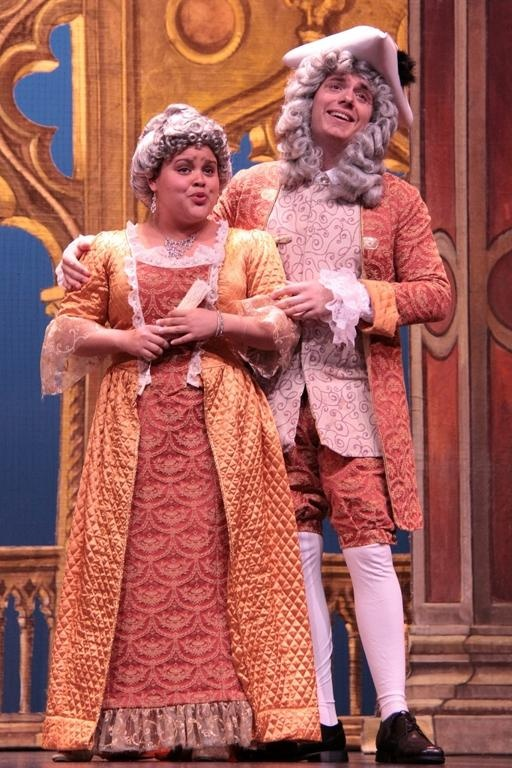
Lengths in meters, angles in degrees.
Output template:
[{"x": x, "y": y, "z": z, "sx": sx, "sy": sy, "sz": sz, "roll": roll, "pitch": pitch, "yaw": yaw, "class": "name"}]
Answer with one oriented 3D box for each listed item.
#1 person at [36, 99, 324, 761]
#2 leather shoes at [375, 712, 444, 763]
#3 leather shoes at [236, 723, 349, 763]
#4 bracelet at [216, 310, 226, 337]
[{"x": -0.212, "y": 0.090, "z": 3.399, "sx": 0.637, "sy": 1.455, "sz": 0.251, "roll": -6, "pitch": -9, "yaw": 0, "class": "person"}, {"x": 0.334, "y": 0.794, "z": 3.375, "sx": 0.083, "sy": 0.084, "sz": 0.198, "roll": 9, "pitch": -21, "yaw": -23, "class": "leather shoes"}, {"x": 0.083, "y": 0.825, "z": 3.470, "sx": 0.291, "sy": 0.095, "sz": 0.089, "roll": 9, "pitch": -25, "yaw": -21, "class": "leather shoes"}, {"x": -0.080, "y": -0.132, "z": 3.338, "sx": 0.022, "sy": 0.039, "sz": 0.040, "roll": 5, "pitch": -3, "yaw": -10, "class": "bracelet"}]
